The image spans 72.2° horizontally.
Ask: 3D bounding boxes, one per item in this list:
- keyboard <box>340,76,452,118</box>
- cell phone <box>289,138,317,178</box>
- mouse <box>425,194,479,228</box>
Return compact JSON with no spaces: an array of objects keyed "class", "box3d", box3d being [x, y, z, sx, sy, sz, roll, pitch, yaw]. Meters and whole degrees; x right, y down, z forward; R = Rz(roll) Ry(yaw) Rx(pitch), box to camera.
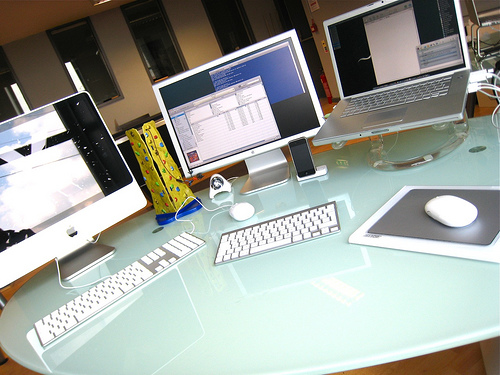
[{"class":"keyboard","box3d":[0.531,-0.329,1.266,0.371,0.053,0.145,0,30,36]},{"class":"cell phone","box3d":[0.221,-0.125,1.428,0.088,0.140,0.076,-14,23,7]},{"class":"mouse","box3d":[0.517,0.052,0.877,0.096,0.046,0.121,-19,24,-3]}]
